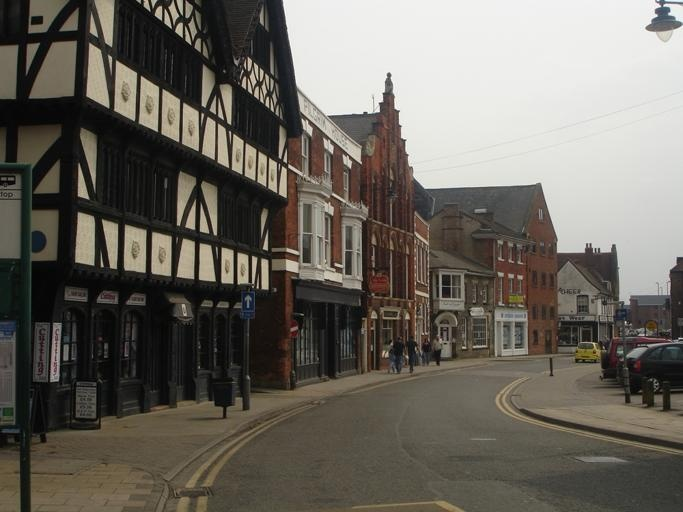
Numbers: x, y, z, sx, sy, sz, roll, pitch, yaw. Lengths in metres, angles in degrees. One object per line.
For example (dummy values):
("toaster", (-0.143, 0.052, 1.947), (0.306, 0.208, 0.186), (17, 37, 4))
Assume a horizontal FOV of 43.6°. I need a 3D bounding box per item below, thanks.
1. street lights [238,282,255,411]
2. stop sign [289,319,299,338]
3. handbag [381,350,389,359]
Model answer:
("street lights", (-2.813, 2.796, 25.373), (0.470, 3.544, 0.252), (-1, -9, 12))
("stop sign", (-1.776, 2.699, 31.595), (0.085, 0.941, 0.581), (3, -6, -31))
("handbag", (2.444, 5.737, 47.843), (0.336, 0.546, 0.702), (-4, -3, 16))
